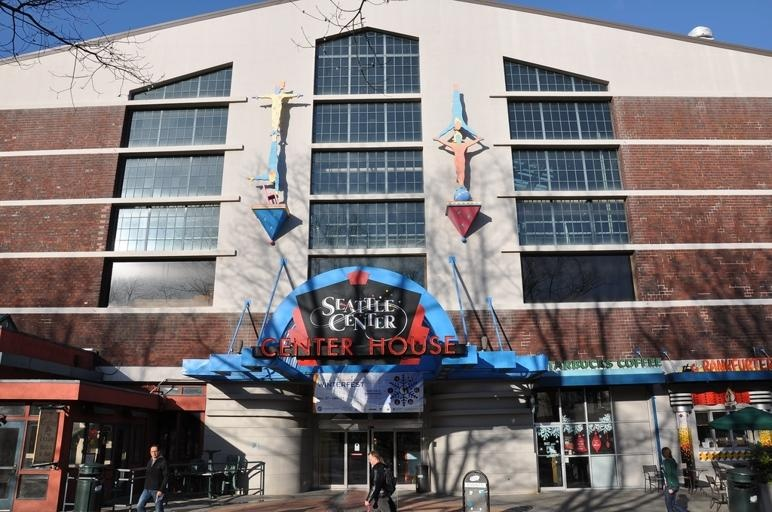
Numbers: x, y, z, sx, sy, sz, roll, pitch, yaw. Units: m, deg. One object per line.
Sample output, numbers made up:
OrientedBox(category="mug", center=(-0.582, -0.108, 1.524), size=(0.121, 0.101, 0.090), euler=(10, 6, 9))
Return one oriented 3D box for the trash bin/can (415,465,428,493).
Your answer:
OrientedBox(category="trash bin/can", center=(1.669, 10.148, 31.199), size=(0.634, 1.227, 0.271), euler=(-3, -23, -1))
